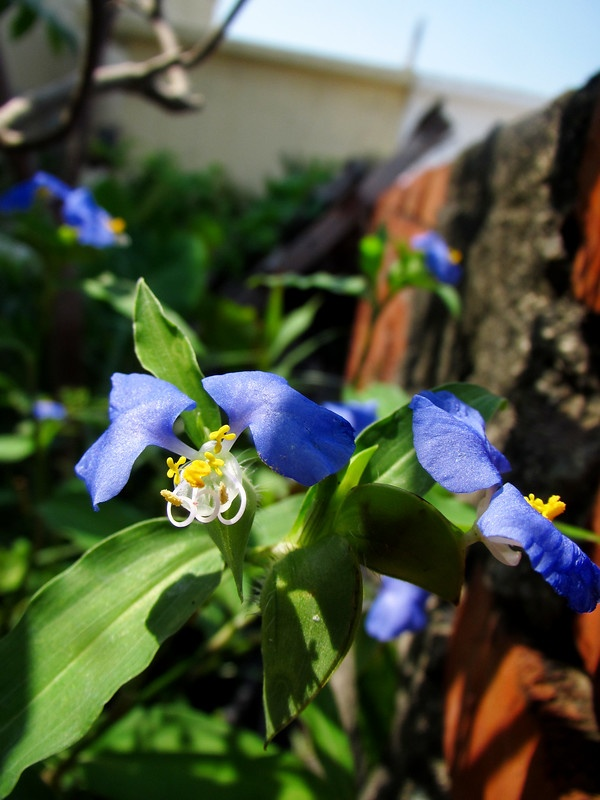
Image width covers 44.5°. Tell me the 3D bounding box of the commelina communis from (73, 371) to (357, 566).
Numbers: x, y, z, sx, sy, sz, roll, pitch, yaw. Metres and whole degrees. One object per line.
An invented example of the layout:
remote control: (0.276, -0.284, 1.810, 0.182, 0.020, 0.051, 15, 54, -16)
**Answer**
commelina communis: (-0.059, 0.032, 0.587, 0.160, 0.071, 0.162, 25, 57, 29)

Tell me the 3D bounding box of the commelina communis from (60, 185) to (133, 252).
commelina communis: (-0.310, -0.272, 1.127, 0.083, 0.101, 0.239, 12, 16, -14)
